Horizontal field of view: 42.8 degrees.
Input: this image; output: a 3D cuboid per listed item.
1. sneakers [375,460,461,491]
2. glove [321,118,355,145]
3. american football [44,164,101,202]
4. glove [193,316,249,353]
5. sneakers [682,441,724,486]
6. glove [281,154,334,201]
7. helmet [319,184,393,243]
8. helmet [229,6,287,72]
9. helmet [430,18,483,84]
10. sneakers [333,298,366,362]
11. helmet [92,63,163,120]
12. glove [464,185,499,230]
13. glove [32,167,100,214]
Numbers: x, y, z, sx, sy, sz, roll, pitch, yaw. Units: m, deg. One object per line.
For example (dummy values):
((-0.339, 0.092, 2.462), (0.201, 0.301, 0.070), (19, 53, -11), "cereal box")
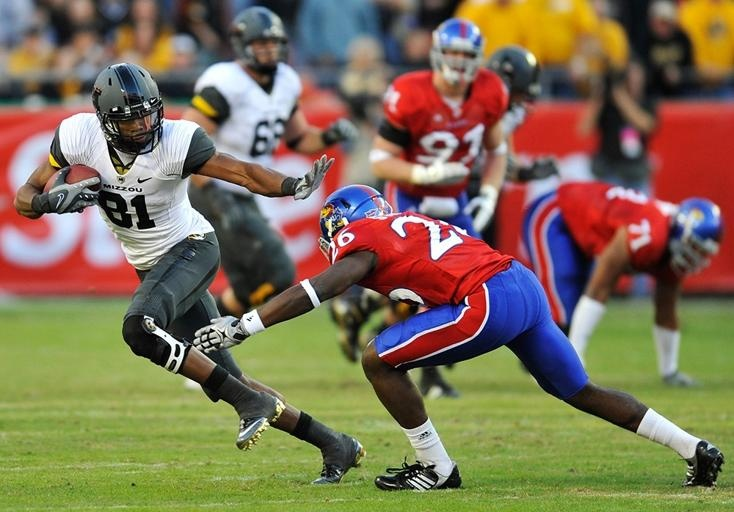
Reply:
((0.281, 1.255, 5.344), (0.502, 0.200, 0.184), (2, -17, -4), "sneakers")
((-0.249, -1.004, 7.744), (0.251, 0.102, 0.193), (-15, 12, 31), "glove")
((-1.682, -0.419, 5.329), (0.237, 0.088, 0.168), (-16, 10, -20), "american football")
((-0.811, 0.429, 5.160), (0.287, 0.176, 0.120), (-1, 5, -4), "glove")
((1.880, 1.180, 5.239), (0.167, 0.359, 0.130), (16, 27, 25), "sneakers")
((-0.351, -0.443, 5.235), (0.257, 0.242, 0.344), (-1, 5, -13), "glove")
((-0.124, -0.239, 5.490), (0.475, 0.399, 0.384), (2, 15, 7), "helmet")
((-0.871, -1.785, 7.799), (0.529, 0.554, 0.436), (2, 7, 32), "helmet")
((0.675, -1.597, 7.153), (0.423, 0.483, 0.552), (2, 26, -12), "helmet")
((-0.189, 0.609, 8.584), (0.285, 0.678, 0.228), (-1, 8, -13), "sneakers")
((-1.432, -0.948, 5.459), (0.357, 0.378, 0.460), (-11, 15, -19), "helmet")
((0.937, -0.380, 7.568), (0.214, 0.394, 0.106), (28, -2, 23), "glove")
((-1.695, -0.377, 5.351), (0.360, 0.204, 0.277), (-17, 19, 1), "glove")
